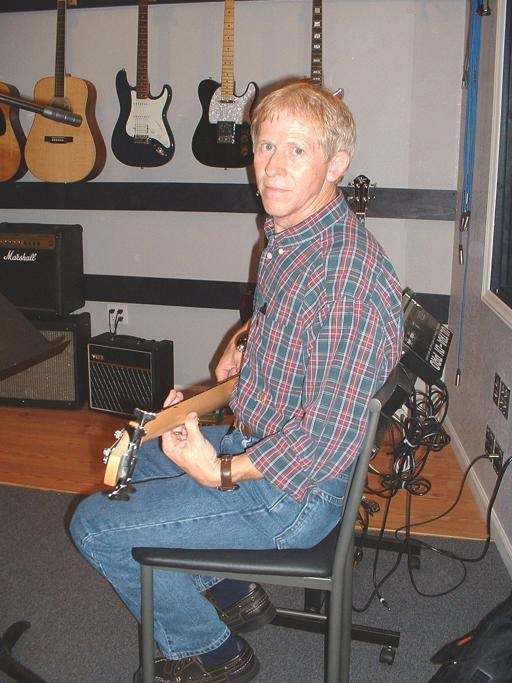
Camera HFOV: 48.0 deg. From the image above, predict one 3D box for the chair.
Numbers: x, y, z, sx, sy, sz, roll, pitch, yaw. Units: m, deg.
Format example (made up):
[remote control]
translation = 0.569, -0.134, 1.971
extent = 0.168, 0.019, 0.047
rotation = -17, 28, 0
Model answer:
[chair]
translation = 0.008, 0.326, 1.351
extent = 0.554, 0.893, 0.484
rotation = 3, 3, 6

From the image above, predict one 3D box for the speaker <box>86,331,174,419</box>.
[speaker]
translation = -0.659, 0.178, 2.972
extent = 0.368, 0.453, 0.251
rotation = 5, 11, 12

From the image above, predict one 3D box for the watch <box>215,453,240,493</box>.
[watch]
translation = -0.049, 0.221, 0.958
extent = 0.023, 0.055, 0.037
rotation = 0, 14, -2

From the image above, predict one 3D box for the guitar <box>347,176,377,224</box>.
[guitar]
translation = 0.454, -0.618, 2.491
extent = 0.115, 0.286, 0.023
rotation = -1, 58, 7
